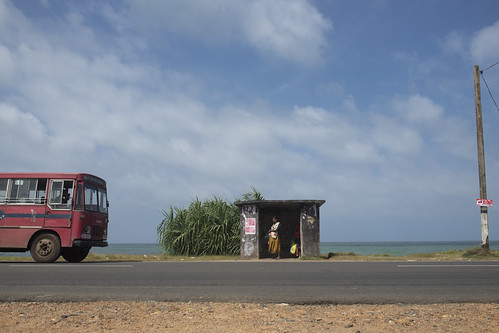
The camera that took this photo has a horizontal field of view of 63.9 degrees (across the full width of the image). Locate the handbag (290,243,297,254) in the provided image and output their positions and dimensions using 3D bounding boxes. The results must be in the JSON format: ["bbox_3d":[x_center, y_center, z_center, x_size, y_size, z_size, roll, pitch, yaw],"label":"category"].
[{"bbox_3d":[2.681,4.905,23.649,0.428,0.602,0.331,-10,-16,37],"label":"handbag"}]
